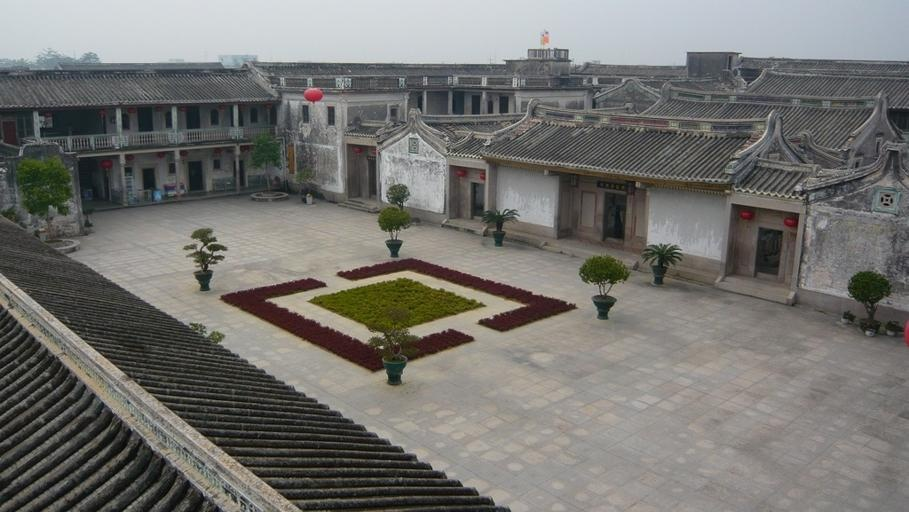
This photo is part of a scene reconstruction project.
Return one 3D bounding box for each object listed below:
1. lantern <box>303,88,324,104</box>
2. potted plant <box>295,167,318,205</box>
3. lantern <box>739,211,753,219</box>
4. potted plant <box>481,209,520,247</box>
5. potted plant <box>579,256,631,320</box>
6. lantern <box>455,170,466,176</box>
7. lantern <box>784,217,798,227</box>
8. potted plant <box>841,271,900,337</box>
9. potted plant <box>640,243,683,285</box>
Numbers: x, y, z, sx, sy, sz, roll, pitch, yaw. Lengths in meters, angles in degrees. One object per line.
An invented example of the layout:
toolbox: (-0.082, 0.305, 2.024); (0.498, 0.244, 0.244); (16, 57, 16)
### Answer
lantern: (-5.974, -6.817, 24.784); (0.772, 0.603, 0.686); (15, 44, 19)
potted plant: (-6.662, -3.235, 26.269); (0.847, 1.443, 1.640); (-4, 17, -13)
lantern: (8.213, -1.156, 16.435); (0.256, 0.192, 0.257); (-14, 21, -36)
potted plant: (1.590, -1.078, 20.539); (1.237, 1.177, 1.211); (3, 17, 8)
potted plant: (3.904, 0.715, 15.286); (1.434, 1.708, 1.070); (0, 0, 23)
lantern: (0.258, -3.083, 21.730); (0.409, 0.256, 0.252); (2, 17, 4)
lantern: (9.056, -0.901, 15.733); (0.409, 0.241, 0.325); (12, 31, 20)
potted plant: (10.281, 1.071, 14.464); (0.998, 1.502, 0.725); (-11, 22, -33)
potted plant: (6.193, 0.185, 17.378); (0.998, 1.130, 1.002); (8, 18, 21)
